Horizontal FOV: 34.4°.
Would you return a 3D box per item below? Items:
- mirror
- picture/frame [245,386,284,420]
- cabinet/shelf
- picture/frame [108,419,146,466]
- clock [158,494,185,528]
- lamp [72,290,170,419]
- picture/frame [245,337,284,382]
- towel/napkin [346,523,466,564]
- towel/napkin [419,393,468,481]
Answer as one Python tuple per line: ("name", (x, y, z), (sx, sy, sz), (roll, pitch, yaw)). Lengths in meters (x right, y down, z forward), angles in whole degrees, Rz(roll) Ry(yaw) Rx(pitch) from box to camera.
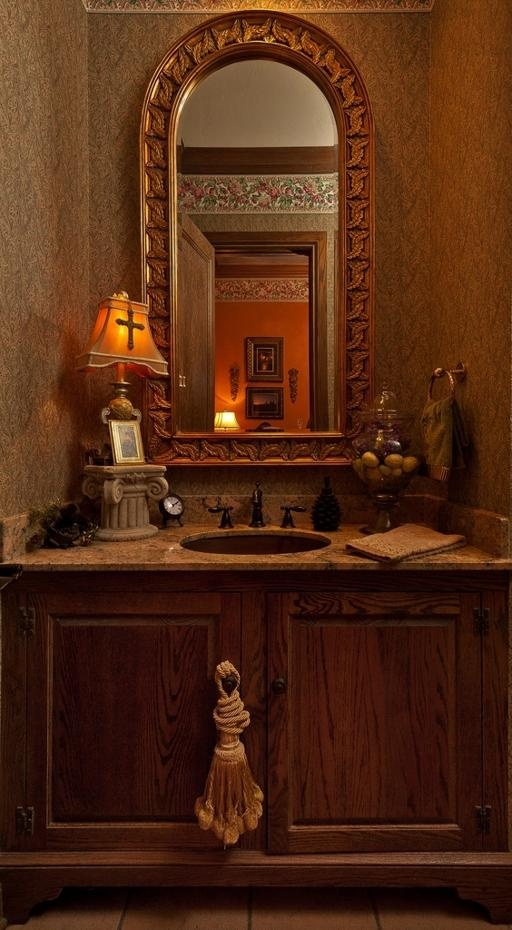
("mirror", (0.002, -0.650, 2.350), (0.674, 1.399, 0.035), (0, -11, -1))
("picture/frame", (0.026, -0.185, 2.387), (0.082, 0.083, 0.007), (0, 2, 3))
("cabinet/shelf", (-0.007, 0.566, 2.041), (1.100, 0.793, 0.417), (0, 9, -2))
("picture/frame", (-0.344, -0.060, 2.180), (0.013, 0.149, 0.116), (-19, -12, 37))
("clock", (-0.235, 0.125, 2.305), (0.055, 0.117, 0.086), (-3, -4, 41))
("lamp", (-0.355, -0.280, 2.232), (0.226, 0.375, 0.215), (3, -1, -38))
("picture/frame", (0.025, -0.311, 2.373), (0.110, 0.152, 0.010), (0, 1, 0))
("towel/napkin", (0.352, 0.184, 1.966), (0.183, 0.061, 0.309), (1, 0, 42))
("towel/napkin", (0.481, -0.070, 2.108), (0.076, 0.227, 0.210), (0, -6, -1))
